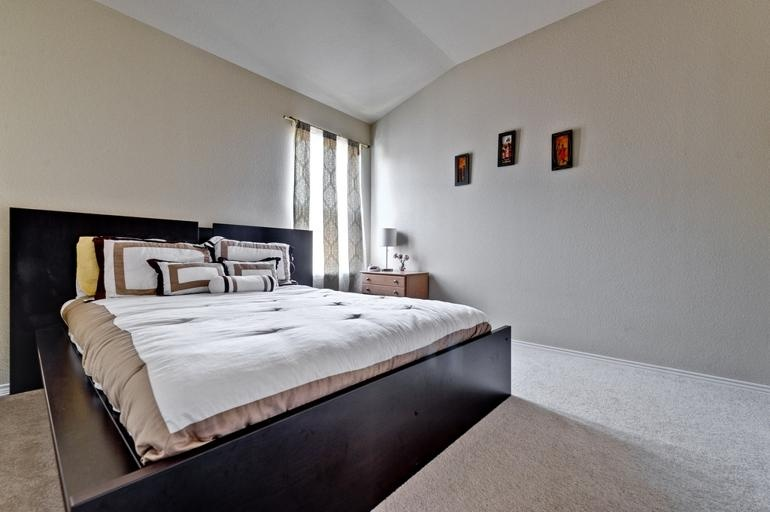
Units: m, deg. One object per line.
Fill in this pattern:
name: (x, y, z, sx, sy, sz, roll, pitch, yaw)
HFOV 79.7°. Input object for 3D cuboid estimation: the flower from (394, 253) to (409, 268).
flower: (0.217, 0.053, 5.875, 0.082, 0.170, 0.164, 1, -11, -45)
